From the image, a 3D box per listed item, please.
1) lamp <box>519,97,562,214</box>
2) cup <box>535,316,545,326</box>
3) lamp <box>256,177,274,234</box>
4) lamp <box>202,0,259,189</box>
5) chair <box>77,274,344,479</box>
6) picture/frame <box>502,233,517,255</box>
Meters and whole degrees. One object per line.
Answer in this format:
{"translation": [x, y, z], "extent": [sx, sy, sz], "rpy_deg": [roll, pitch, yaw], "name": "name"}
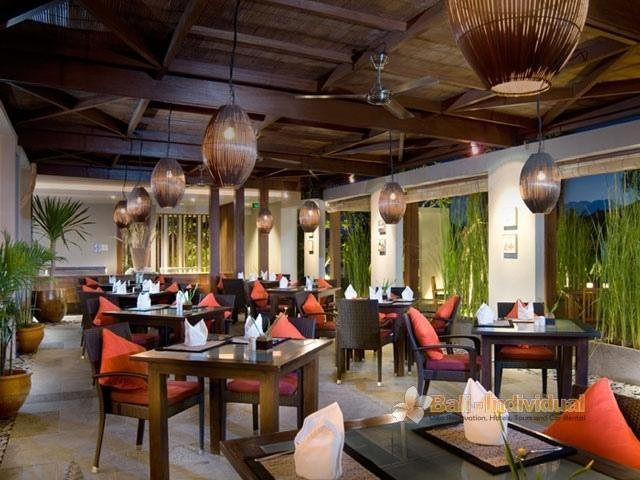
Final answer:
{"translation": [2.310, -0.614, 4.996], "extent": [0.342, 0.627, 0.253], "rpy_deg": [1, -3, -21], "name": "lamp"}
{"translation": [2.321, 0.847, 5.010], "extent": [0.090, 0.096, 0.096], "rpy_deg": [1, 0, 0], "name": "cup"}
{"translation": [-1.344, -0.783, 11.492], "extent": [0.318, 1.261, 1.010], "rpy_deg": [0, -4, -8], "name": "lamp"}
{"translation": [-0.751, -1.225, 3.951], "extent": [0.393, 1.706, 1.180], "rpy_deg": [0, -3, -11], "name": "lamp"}
{"translation": [-0.725, 1.008, 3.819], "extent": [1.214, 1.056, 1.332], "rpy_deg": [-2, -4, 24], "name": "chair"}
{"translation": [2.953, 0.051, 7.390], "extent": [0.045, 0.393, 0.275], "rpy_deg": [6, -8, -23], "name": "picture/frame"}
